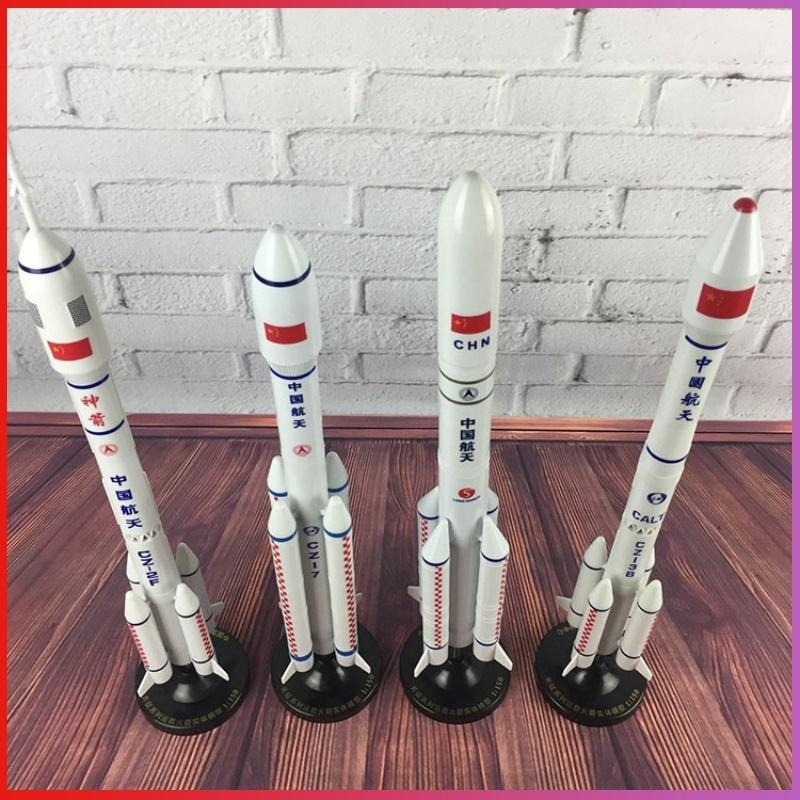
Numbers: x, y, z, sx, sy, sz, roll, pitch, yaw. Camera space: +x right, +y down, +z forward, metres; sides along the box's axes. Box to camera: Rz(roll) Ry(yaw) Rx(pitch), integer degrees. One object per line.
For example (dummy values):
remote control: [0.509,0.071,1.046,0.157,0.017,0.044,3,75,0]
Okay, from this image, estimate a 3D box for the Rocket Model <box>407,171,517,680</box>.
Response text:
Rocket Model: [0.058,0.044,0.824,0.117,0.575,0.225,-3,35,2]

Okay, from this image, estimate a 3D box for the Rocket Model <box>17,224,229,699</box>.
Rocket Model: [-0.283,0.090,0.778,0.105,0.538,0.148,-14,36,-13]

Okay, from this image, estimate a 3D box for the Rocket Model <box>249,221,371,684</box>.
Rocket Model: [-0.109,0.084,0.796,0.103,0.529,0.130,-7,35,-4]

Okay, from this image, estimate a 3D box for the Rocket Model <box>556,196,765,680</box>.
Rocket Model: [0.258,0.057,0.811,0.147,0.552,0.210,4,36,12]
